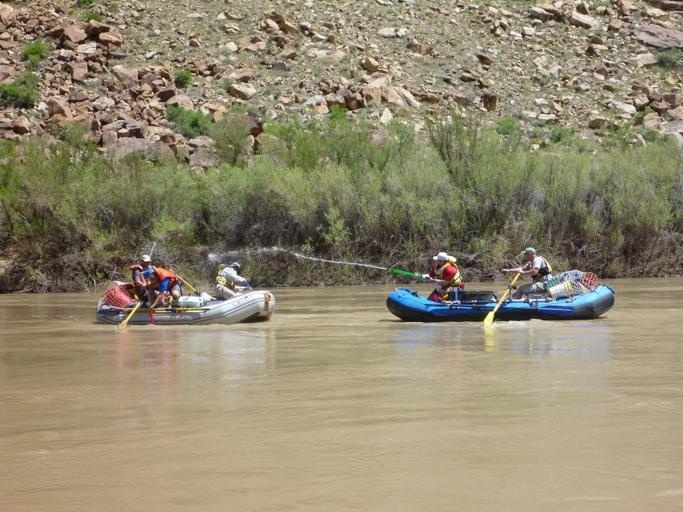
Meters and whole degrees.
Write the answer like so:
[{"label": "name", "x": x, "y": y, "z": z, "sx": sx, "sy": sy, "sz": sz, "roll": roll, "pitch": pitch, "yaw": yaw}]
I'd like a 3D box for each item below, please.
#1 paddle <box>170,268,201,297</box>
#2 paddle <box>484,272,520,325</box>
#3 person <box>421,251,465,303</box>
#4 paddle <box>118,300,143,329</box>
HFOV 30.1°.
[{"label": "paddle", "x": -5.733, "y": 1.002, "z": 46.594, "sx": 0.383, "sy": 0.336, "sz": 1.427, "roll": -12, "pitch": -31, "yaw": 17}, {"label": "paddle", "x": 5.030, "y": 1.482, "z": 39.873, "sx": 1.108, "sy": 1.756, "sz": 0.948, "roll": -9, "pitch": 1, "yaw": 20}, {"label": "person", "x": 3.177, "y": 0.706, "z": 40.434, "sx": 1.110, "sy": 1.642, "sz": 0.960, "roll": -4, "pitch": 2, "yaw": -38}, {"label": "paddle", "x": -6.688, "y": 1.915, "z": 40.329, "sx": 0.156, "sy": 1.094, "sz": 0.121, "roll": 46, "pitch": 15, "yaw": 22}]
